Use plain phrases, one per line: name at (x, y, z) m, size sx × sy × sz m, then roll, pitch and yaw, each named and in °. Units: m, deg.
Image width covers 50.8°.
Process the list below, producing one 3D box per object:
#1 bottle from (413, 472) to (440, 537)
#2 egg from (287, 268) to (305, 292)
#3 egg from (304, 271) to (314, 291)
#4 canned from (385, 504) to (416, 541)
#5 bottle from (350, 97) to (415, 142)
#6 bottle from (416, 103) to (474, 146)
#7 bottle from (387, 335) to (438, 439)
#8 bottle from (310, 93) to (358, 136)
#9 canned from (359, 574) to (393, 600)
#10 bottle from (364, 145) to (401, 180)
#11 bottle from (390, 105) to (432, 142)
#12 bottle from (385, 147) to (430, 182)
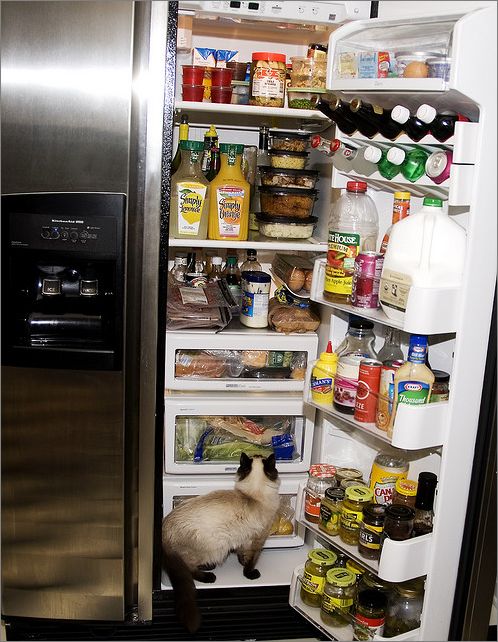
bottle at (0.375, 0.390, 1.116) m, size 0.040 × 0.137 × 0.049 m, roll 6°, pitch 13°, yaw 21°
egg at (0.152, -0.132, 1.680) m, size 0.041 × 0.071 × 0.055 m, roll 7°, pitch -3°, yaw 8°
egg at (0.194, -0.132, 1.704) m, size 0.018 × 0.052 × 0.052 m, roll 3°, pitch -13°, yaw -9°
canned at (0.314, 0.426, 1.093) m, size 0.063 × 0.068 × 0.063 m, roll -1°, pitch 11°, yaw -12°
bottle at (0.288, -0.434, 1.115) m, size 0.147 × 0.048 × 0.053 m, roll 12°, pitch 26°, yaw -38°
bottle at (0.351, -0.362, 0.957) m, size 0.088 × 0.063 × 0.131 m, roll 5°, pitch 13°, yaw 18°
bottle at (0.326, 0.137, 1.031) m, size 0.082 × 0.216 × 0.086 m, roll 1°, pitch 12°, yaw 0°
bottle at (0.215, -0.520, 1.305) m, size 0.054 × 0.053 × 0.206 m, roll 11°, pitch -5°, yaw 34°
canned at (0.295, 0.621, 1.231) m, size 0.056 × 0.056 × 0.056 m, roll 7°, pitch 5°, yaw 7°
bottle at (0.295, -0.352, 1.148) m, size 0.052 × 0.054 × 0.100 m, roll -5°, pitch 0°, yaw 34°
bottle at (0.318, -0.389, 1.030) m, size 0.042 × 0.041 × 0.108 m, roll -3°, pitch -20°, yaw 46°
bottle at (0.335, -0.331, 1.097) m, size 0.089 × 0.056 × 0.051 m, roll 6°, pitch 21°, yaw -43°
